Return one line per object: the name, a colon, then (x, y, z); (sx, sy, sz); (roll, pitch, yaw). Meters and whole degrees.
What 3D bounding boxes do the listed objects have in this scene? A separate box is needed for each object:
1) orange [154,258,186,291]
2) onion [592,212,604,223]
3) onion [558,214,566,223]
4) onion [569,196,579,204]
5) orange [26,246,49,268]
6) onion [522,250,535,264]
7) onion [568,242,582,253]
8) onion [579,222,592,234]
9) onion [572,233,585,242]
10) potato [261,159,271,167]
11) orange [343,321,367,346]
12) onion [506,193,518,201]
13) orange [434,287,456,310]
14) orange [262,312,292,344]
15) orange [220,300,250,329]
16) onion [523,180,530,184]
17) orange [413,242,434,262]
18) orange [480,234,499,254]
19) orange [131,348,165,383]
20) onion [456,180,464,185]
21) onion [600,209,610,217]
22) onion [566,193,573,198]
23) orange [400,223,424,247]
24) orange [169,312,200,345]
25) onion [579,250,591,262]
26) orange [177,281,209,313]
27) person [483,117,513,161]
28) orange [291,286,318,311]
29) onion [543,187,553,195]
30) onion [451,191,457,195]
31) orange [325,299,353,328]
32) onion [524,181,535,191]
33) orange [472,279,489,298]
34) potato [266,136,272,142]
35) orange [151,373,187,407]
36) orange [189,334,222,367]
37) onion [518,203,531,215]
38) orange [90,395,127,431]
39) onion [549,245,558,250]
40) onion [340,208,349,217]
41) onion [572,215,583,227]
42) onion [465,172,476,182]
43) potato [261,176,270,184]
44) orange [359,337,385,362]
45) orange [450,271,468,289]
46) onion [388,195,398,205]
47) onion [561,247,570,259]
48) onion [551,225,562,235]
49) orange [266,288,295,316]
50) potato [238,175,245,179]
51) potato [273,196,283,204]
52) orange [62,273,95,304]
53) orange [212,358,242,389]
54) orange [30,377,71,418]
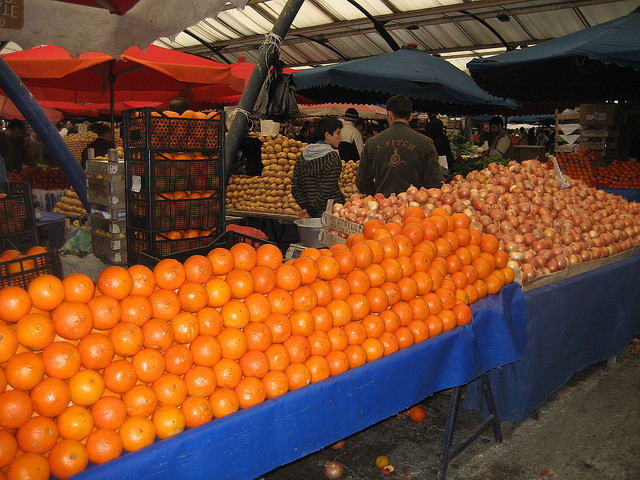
orange: (-0.706, 0.164, 2.193); (0.137, 0.138, 0.129); (-30, 15, -21)
onion: (2.670, -0.237, 4.346); (0.097, 0.061, 0.102); (9, 38, 27)
onion: (2.145, -0.186, 4.010); (0.069, 0.051, 0.051); (31, -37, -10)
onion: (2.446, -0.379, 4.337); (0.065, 0.082, 0.067); (-3, 5, 8)
orange: (-1.426, 0.088, 2.288); (0.081, 0.101, 0.083); (-5, -6, -16)
onion: (1.598, 0.125, 3.481); (0.087, 0.108, 0.090); (0, 14, 9)
onion: (2.138, 0.069, 3.810); (0.136, 0.075, 0.063); (-10, 15, -33)
onion: (2.370, -0.108, 4.052); (0.089, 0.074, 0.069); (5, -14, -2)
onion: (2.221, -0.025, 3.886); (0.062, 0.049, 0.080); (-19, 23, -39)
potato: (-0.903, -1.311, 7.673); (0.133, 0.104, 0.146); (0, -3, -42)
orange: (0.186, 0.481, 2.356); (0.105, 0.111, 0.103); (-2, 6, 3)
onion: (1.667, -0.373, 3.922); (0.061, 0.060, 0.062); (-1, 21, 16)
orange: (0.757, 0.346, 2.701); (0.114, 0.143, 0.119); (-1, 1, 5)
orange: (-0.210, 0.432, 2.188); (0.094, 0.112, 0.094); (-15, 41, -23)
orange: (-0.404, 0.364, 2.208); (0.122, 0.128, 0.124); (-29, 54, -30)
onion: (1.900, -0.531, 4.162); (0.042, 0.041, 0.043); (-3, 7, -1)
orange: (0.641, 0.071, 2.804); (0.102, 0.124, 0.105); (-5, 7, 4)
orange: (1.169, 0.022, 3.204); (0.117, 0.145, 0.121); (5, 22, 3)
orange: (-0.699, 0.537, 1.932); (0.126, 0.149, 0.131); (2, -20, -6)
onion: (1.263, -0.514, 4.072); (0.050, 0.028, 0.051); (-11, 5, 2)
onion: (2.780, -0.260, 4.422); (0.076, 0.045, 0.063); (0, 17, -1)
onion: (2.399, -0.429, 4.359); (0.050, 0.018, 0.051); (3, 18, 18)
orange: (0.562, -0.029, 2.844); (0.121, 0.153, 0.127); (-4, 0, -1)
orange: (-0.606, 0.392, 2.104); (0.130, 0.129, 0.128); (-36, -11, -32)
onion: (2.241, 0.132, 3.816); (0.086, 0.106, 0.088); (-14, 3, 38)
orange: (-0.585, 0.265, 2.096); (0.133, 0.140, 0.130); (4, -17, -15)
person: (3.690, -2.094, 9.211); (0.483, 0.823, 1.635); (4, 14, 22)
orange: (-0.077, 0.303, 2.376); (0.111, 0.134, 0.112); (22, -4, -1)
onion: (2.160, -0.457, 4.284); (0.084, 0.068, 0.063); (10, -8, -22)
onion: (1.166, -0.407, 3.922); (0.041, 0.024, 0.041); (-6, 17, -16)
orange: (0.103, 0.385, 2.436); (0.126, 0.130, 0.127); (18, -15, 2)
onion: (1.909, -0.494, 4.125); (0.082, 0.086, 0.085); (-3, -1, 5)
orange: (1.054, 0.312, 2.949); (0.110, 0.114, 0.108); (-2, 4, 3)
potato: (-0.887, -1.770, 7.951); (0.101, 0.096, 0.178); (-3, 13, -7)
orange: (-0.628, 0.639, 1.886); (0.125, 0.128, 0.123); (8, -32, -20)
orange: (-0.505, 0.492, 1.999); (0.121, 0.134, 0.131); (-3, 19, 27)
onion: (1.723, -0.271, 3.807); (0.070, 0.077, 0.097); (-2, 0, 44)
orange: (-0.823, 0.673, 1.770); (0.120, 0.123, 0.118); (2, -6, -32)
onion: (1.867, 0.067, 3.626); (0.037, 0.014, 0.038); (-10, 11, 40)
onion: (0.206, -0.226, 3.695); (0.051, 0.037, 0.064); (-10, 6, -31)
onion: (2.314, -0.176, 4.073); (0.083, 0.110, 0.095); (1, 0, 13)
onion: (1.424, -0.593, 4.285); (0.088, 0.090, 0.090); (-3, 7, 4)
potato: (-0.906, -1.009, 7.581); (0.084, 0.059, 0.101); (-9, 20, -19)
orange: (0.279, 0.566, 2.348); (0.119, 0.104, 0.106); (-14, 6, 21)
orange: (0.873, 0.268, 2.917); (0.093, 0.096, 0.110); (-13, 58, -13)
onion: (0.610, -0.332, 3.740); (0.067, 0.064, 0.122); (1, 13, 9)
onion: (2.012, 0.104, 3.695); (0.042, 0.064, 0.078); (-7, 33, 5)
onion: (1.991, -0.079, 3.790); (0.062, 0.040, 0.064); (9, 17, 33)
orange: (-0.201, 0.313, 2.333); (0.120, 0.119, 0.120); (-33, -15, -22)
potato: (-1.369, -1.092, 7.849); (0.075, 0.045, 0.065); (4, -4, 9)
potato: (-0.678, -0.658, 7.443); (0.121, 0.103, 0.096); (-4, 2, 28)
orange: (-1.030, 0.206, 1.940); (0.125, 0.150, 0.122); (6, -11, -12)
orange: (-0.408, 0.593, 2.013); (0.121, 0.124, 0.116); (3, -2, -6)
orange: (-1.022, 0.599, 1.710); (0.093, 0.096, 0.092); (27, 57, 24)
